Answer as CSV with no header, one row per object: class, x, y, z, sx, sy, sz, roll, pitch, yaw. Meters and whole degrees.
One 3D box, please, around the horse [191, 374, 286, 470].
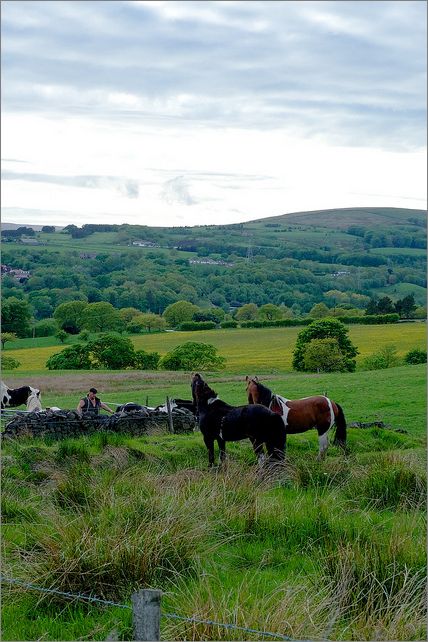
horse,0.401,1.914,13.135,0.782,1.677,2.906,3,-3,-40
